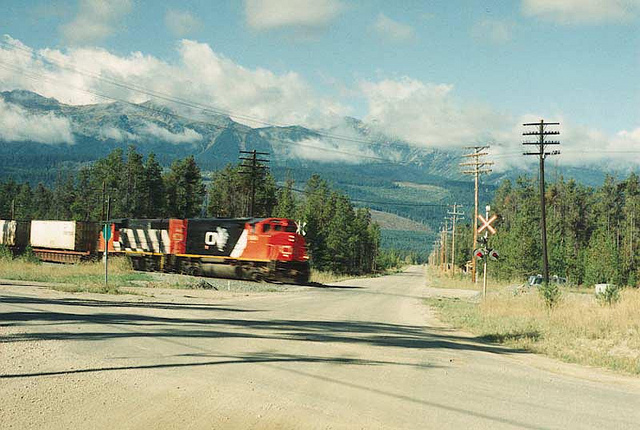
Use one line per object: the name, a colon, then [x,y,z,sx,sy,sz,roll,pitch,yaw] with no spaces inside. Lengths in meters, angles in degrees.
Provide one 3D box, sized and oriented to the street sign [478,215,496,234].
street sign: [11.211,0.602,46.665,0.833,1.283,1.690,-5,13,-25]
